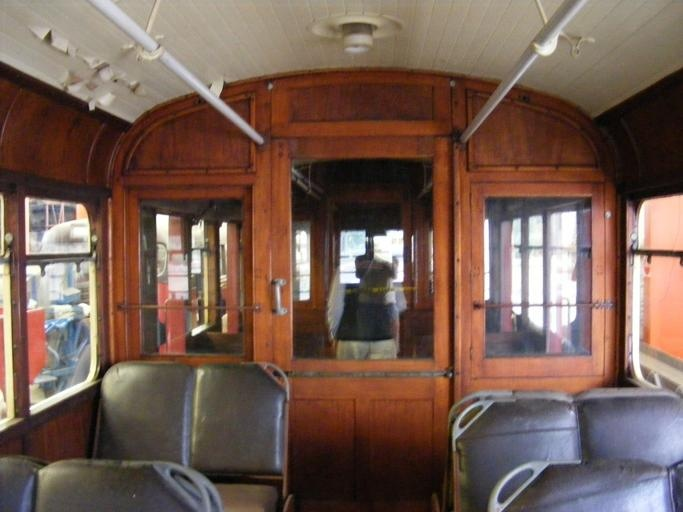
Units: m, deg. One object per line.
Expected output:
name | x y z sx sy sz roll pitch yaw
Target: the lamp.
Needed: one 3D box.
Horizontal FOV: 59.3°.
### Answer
lamp | 0.095 -1.463 3.980 0.601 0.158 0.346 1 -2 -2
